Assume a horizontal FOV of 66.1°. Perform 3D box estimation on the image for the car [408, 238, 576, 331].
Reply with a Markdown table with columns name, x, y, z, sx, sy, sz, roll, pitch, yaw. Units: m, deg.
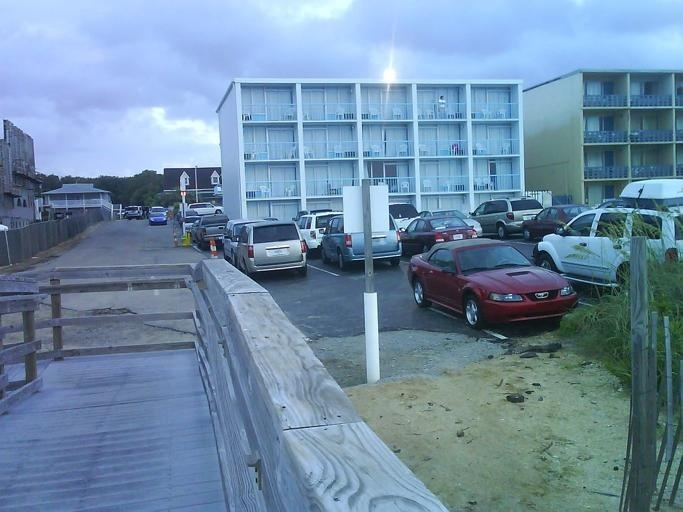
| name | x | y | z | sx | sy | sz | roll | pitch | yaw |
| --- | --- | --- | --- | --- | --- | --- | --- | --- | --- |
| car | 2.979 | 0.441 | 11.562 | 1.608 | 1.240 | 3.640 | -2 | 3 | -16 |

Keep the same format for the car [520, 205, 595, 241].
| name | x | y | z | sx | sy | sz | roll | pitch | yaw |
| --- | --- | --- | --- | --- | --- | --- | --- | --- | --- |
| car | 8.237 | -1.270 | 20.118 | 1.535 | 1.278 | 3.381 | -4 | 10 | -12 |

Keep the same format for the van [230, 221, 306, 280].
| name | x | y | z | sx | sy | sz | roll | pitch | yaw |
| --- | --- | --- | --- | --- | --- | --- | --- | --- | --- |
| van | -2.472 | -0.385 | 18.965 | 2.269 | 1.686 | 0.940 | -3 | 6 | 7 |

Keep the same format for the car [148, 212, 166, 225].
| name | x | y | z | sx | sy | sz | roll | pitch | yaw |
| --- | --- | --- | --- | --- | --- | --- | --- | --- | --- |
| car | -20.806 | -4.280 | 59.750 | 2.163 | 1.508 | 1.052 | -2 | 6 | 11 |

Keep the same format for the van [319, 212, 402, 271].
| name | x | y | z | sx | sy | sz | roll | pitch | yaw |
| --- | --- | --- | --- | --- | --- | --- | --- | --- | --- |
| van | 0.542 | -0.578 | 20.609 | 2.017 | 2.040 | 3.461 | -8 | 7 | -36 |

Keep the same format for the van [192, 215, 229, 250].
| name | x | y | z | sx | sy | sz | roll | pitch | yaw |
| --- | --- | --- | --- | --- | --- | --- | --- | --- | --- |
| van | -8.086 | -1.373 | 32.926 | 2.017 | 1.684 | 3.715 | -3 | 13 | -19 |

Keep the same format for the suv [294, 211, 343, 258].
| name | x | y | z | sx | sy | sz | roll | pitch | yaw |
| --- | --- | --- | --- | --- | --- | --- | --- | --- | --- |
| suv | -1.239 | -1.300 | 24.957 | 1.379 | 1.241 | 2.736 | -2 | 10 | -13 |

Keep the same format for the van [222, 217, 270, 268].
| name | x | y | z | sx | sy | sz | roll | pitch | yaw |
| --- | --- | --- | --- | --- | --- | --- | --- | --- | --- |
| van | -4.710 | -0.612 | 23.932 | 1.774 | 1.594 | 3.081 | -1 | 10 | -8 |
